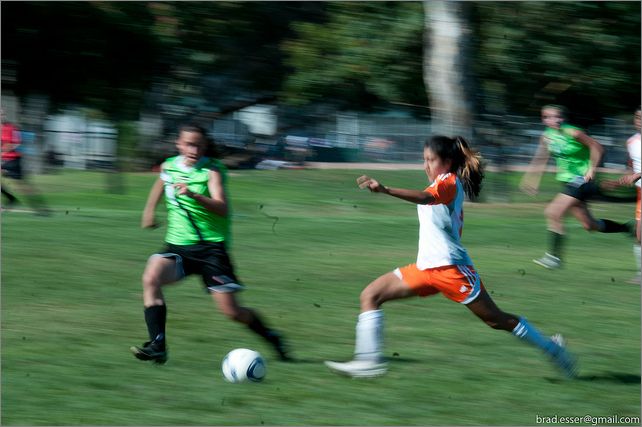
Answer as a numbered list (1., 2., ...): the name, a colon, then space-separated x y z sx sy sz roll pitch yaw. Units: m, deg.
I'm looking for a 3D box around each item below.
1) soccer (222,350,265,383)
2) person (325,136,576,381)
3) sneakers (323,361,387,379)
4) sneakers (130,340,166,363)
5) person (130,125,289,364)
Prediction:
1. soccer: -0.751 1.455 6.604 0.455 0.233 0.402 6 -9 8
2. person: 1.112 0.424 6.521 2.137 2.298 0.558 -2 11 -10
3. sneakers: 0.360 1.460 6.524 0.620 0.125 0.174 3 -8 4
4. sneakers: -1.593 1.317 6.504 0.273 0.266 0.247 0 9 4
5. person: -1.290 0.288 6.831 1.396 2.324 1.038 -4 11 -18
